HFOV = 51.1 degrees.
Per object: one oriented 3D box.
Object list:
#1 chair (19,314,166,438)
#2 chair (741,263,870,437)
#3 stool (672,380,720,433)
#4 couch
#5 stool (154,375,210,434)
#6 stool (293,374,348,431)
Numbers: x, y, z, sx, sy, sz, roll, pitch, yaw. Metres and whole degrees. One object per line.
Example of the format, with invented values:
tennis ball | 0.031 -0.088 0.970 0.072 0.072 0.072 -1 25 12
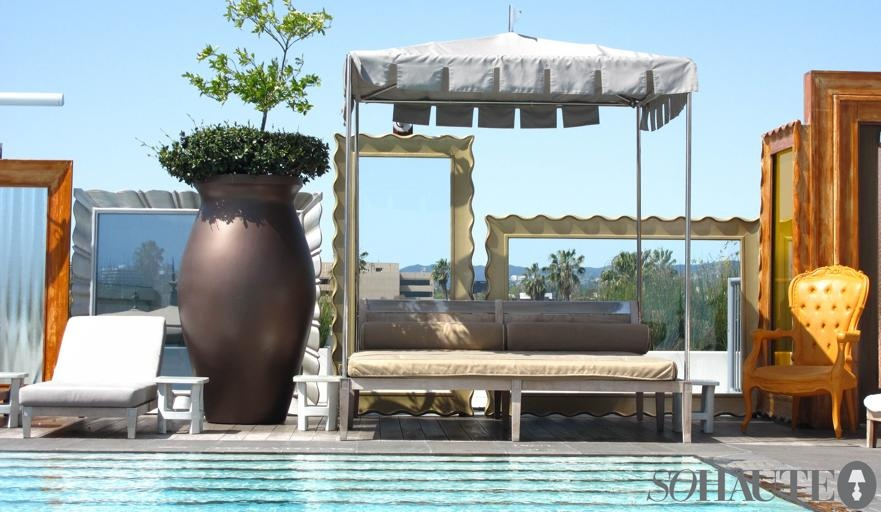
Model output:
chair | -3.958 1.356 10.731 1.228 1.271 1.716 2 0 -3
chair | 4.438 1.133 11.243 1.275 2.076 1.204 1 -5 35
stool | 3.112 1.892 11.334 0.641 0.640 0.688 -2 -6 -3
couch | 0.764 1.382 11.234 3.830 1.499 1.608 1 9 -2
stool | -3.069 1.791 11.012 0.591 0.667 0.617 1 -3 -2
stool | -1.444 1.750 10.839 0.631 0.679 0.672 0 -2 2
